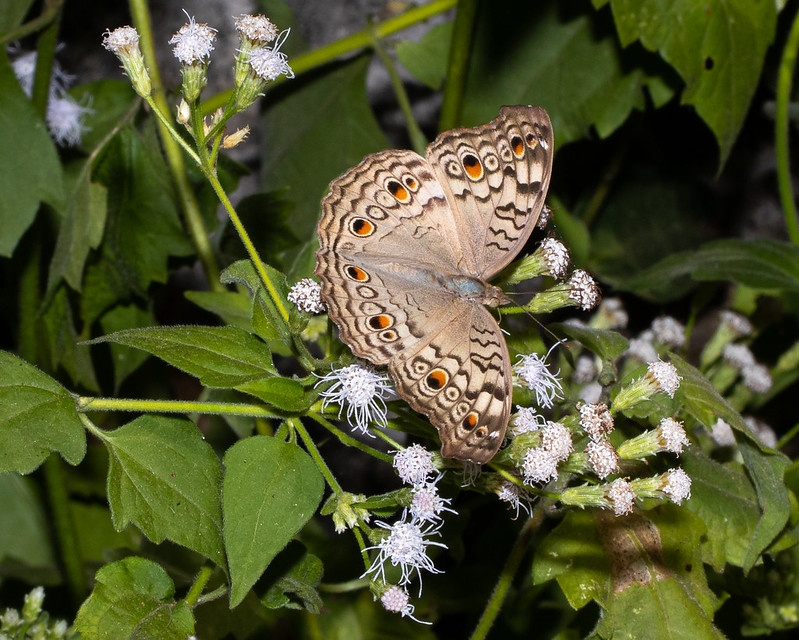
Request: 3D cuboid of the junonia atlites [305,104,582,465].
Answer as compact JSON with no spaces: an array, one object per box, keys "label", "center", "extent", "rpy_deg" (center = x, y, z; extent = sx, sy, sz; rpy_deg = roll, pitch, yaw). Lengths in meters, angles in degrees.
[{"label":"junonia atlites","center":[0.065,-0.042,1.346],"extent":[0.151,0.392,0.652],"rpy_deg":[-48,55,24]}]
